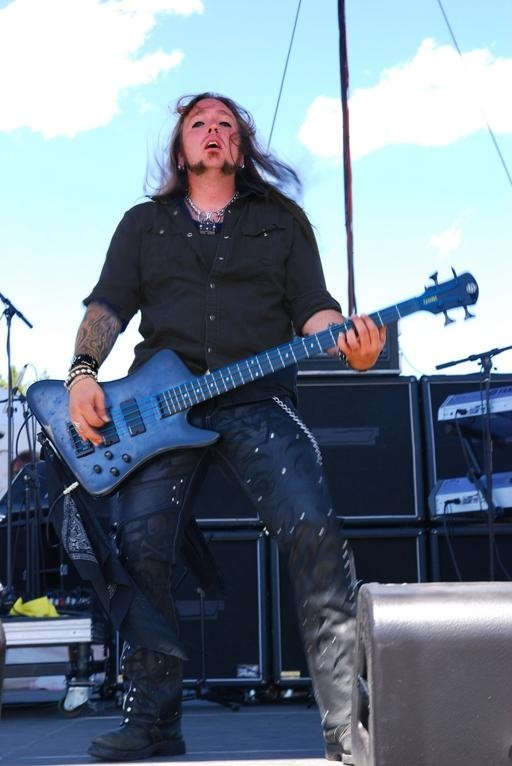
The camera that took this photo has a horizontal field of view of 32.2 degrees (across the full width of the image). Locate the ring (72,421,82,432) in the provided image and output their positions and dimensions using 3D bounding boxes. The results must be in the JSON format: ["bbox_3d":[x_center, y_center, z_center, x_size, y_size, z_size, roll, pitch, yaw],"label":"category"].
[{"bbox_3d":[-0.454,0.109,2.239,0.011,0.023,0.031,-50,-17,-27],"label":"ring"}]

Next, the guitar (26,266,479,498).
[{"bbox_3d":[-0.059,0.016,2.266,1.098,0.459,0.240,-9,-6,11],"label":"guitar"}]
